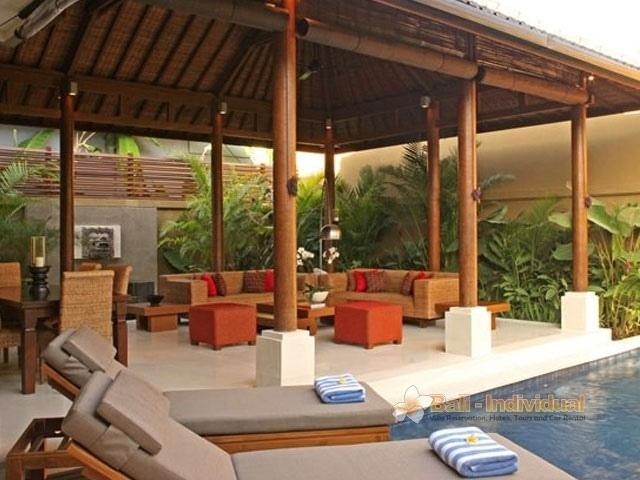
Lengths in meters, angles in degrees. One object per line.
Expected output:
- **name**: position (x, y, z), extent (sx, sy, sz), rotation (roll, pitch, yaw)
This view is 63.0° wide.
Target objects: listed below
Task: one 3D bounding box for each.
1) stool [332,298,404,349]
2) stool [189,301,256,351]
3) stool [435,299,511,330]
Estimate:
- **stool**: position (0.704, 1.171, 7.775), extent (0.747, 0.553, 0.732), rotation (-1, 1, -40)
- **stool**: position (-1.446, 1.211, 7.644), extent (0.722, 0.545, 0.735), rotation (-1, 0, 44)
- **stool**: position (2.625, 1.149, 8.806), extent (0.899, 0.425, 0.875), rotation (-2, 3, -30)
